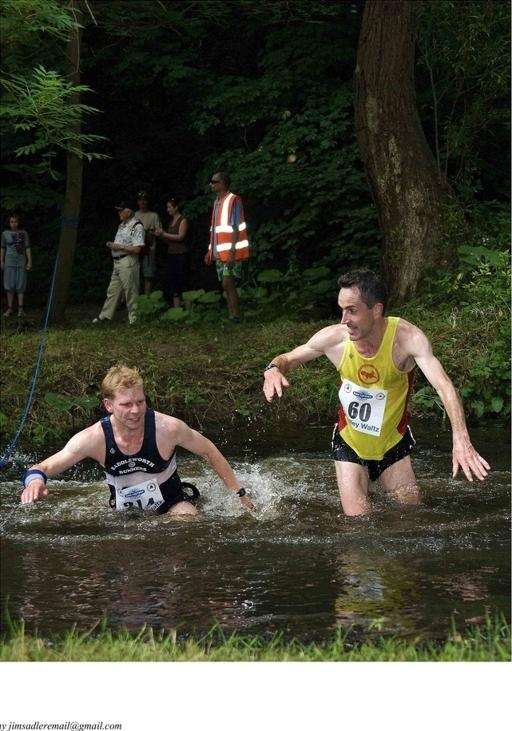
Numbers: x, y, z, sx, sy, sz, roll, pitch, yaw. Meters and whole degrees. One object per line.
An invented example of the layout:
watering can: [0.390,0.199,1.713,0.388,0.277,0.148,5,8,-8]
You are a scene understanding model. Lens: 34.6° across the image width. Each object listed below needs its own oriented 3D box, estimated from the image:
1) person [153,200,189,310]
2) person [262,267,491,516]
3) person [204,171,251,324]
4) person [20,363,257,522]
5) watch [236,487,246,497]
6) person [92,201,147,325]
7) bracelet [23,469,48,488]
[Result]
person: [-1.119,-1.510,11.238,0.428,1.488,1.631,-5,11,-4]
person: [0.714,0.173,4.401,0.616,1.362,1.083,-3,11,3]
person: [-0.334,-1.400,9.796,0.452,1.759,0.674,-5,11,-6]
person: [-0.688,0.442,4.417,1.269,0.907,0.478,-10,13,-35]
watch: [-0.086,0.713,4.665,0.048,0.019,0.053,19,-35,-20]
person: [-1.816,-1.358,10.847,0.663,1.521,0.739,-2,11,9]
bracelet: [-1.111,0.560,4.099,0.091,0.050,0.105,8,0,-5]
